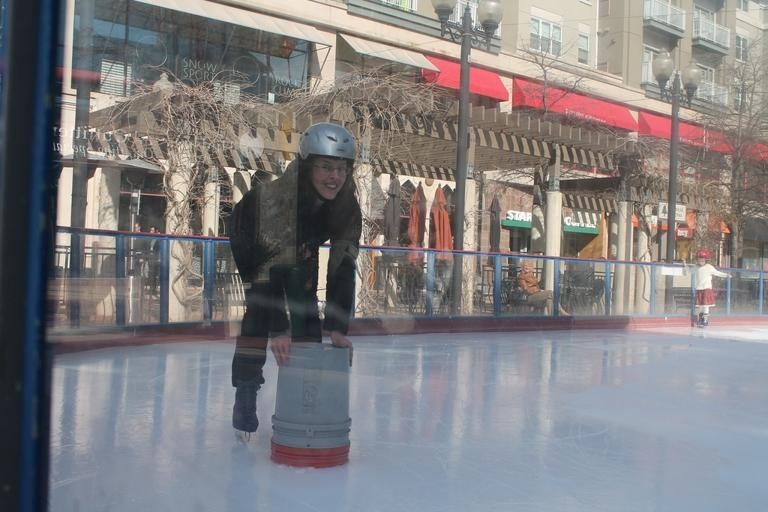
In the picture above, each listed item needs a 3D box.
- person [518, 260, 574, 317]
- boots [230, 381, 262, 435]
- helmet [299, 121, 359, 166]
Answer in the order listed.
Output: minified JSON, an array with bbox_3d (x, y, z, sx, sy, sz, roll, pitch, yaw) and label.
[{"bbox_3d":[2.593,0.549,13.887,0.894,1.165,0.539,-3,6,5],"label":"person"},{"bbox_3d":[-0.980,1.074,6.002,0.189,0.352,0.217,2,2,-10],"label":"boots"},{"bbox_3d":[-0.370,-0.741,5.675,0.314,0.260,0.244,-6,-1,39],"label":"helmet"}]
